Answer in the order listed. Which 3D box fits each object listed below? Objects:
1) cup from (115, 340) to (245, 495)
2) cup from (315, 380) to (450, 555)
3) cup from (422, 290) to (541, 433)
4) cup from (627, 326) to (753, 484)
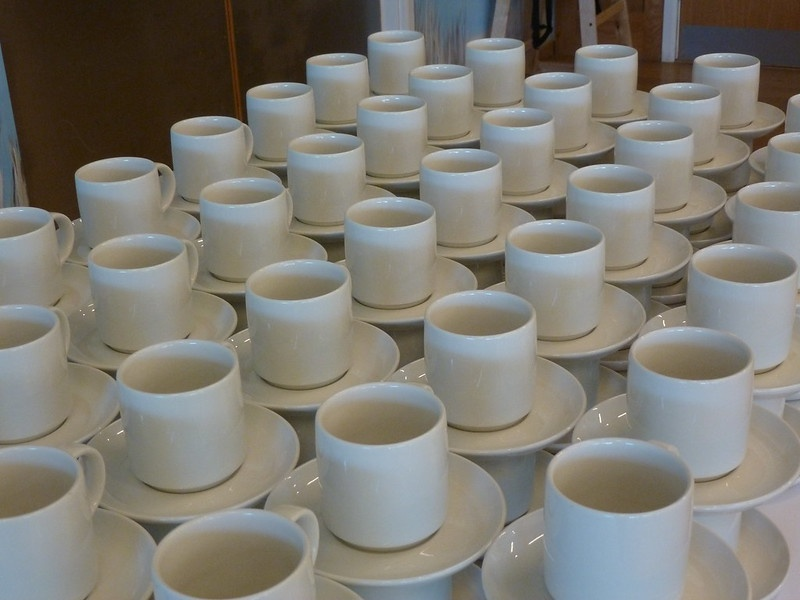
[{"bbox_3d":[-0.223,0.112,0.785,0.103,0.122,0.152,1,21,-2],"label":"cup"},{"bbox_3d":[-0.012,0.157,0.699,0.100,0.115,0.149,0,19,4],"label":"cup"},{"bbox_3d":[0.083,0.069,0.815,0.121,0.134,0.135,-11,26,-16],"label":"cup"},{"bbox_3d":[0.282,0.099,0.755,0.103,0.124,0.155,-6,23,5],"label":"cup"}]
